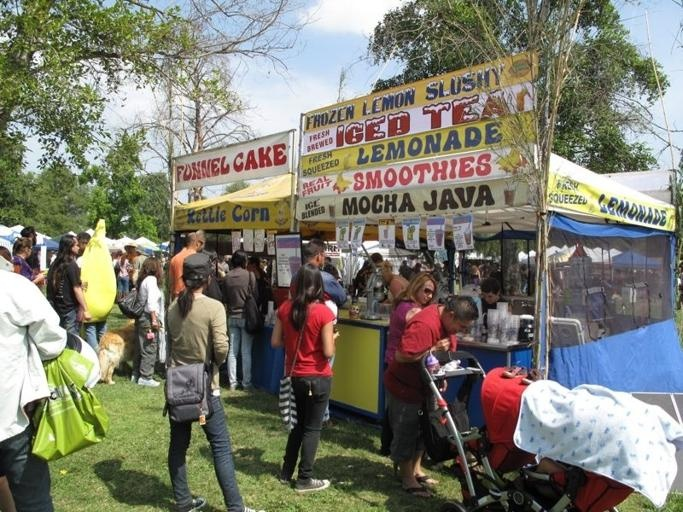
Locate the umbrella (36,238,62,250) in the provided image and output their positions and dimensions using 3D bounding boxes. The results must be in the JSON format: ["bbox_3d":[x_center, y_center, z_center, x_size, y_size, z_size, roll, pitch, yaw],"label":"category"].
[{"bbox_3d":[-12.656,-0.546,25.297,0.866,0.449,0.898,-4,-7,33],"label":"umbrella"}]

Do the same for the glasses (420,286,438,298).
[{"bbox_3d":[0.883,0.363,5.894,0.098,0.035,0.106,18,31,-11],"label":"glasses"}]

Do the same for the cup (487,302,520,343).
[{"bbox_3d":[1.748,0.729,6.377,0.379,0.612,0.372,0,-5,0],"label":"cup"}]

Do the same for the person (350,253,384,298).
[{"bbox_3d":[0.502,0.301,10.267,0.224,0.716,0.578,26,27,17],"label":"person"}]

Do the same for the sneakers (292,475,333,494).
[{"bbox_3d":[-0.270,2.162,5.621,0.352,0.158,0.131,0,-1,-22],"label":"sneakers"}]

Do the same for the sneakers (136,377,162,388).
[{"bbox_3d":[-2.797,1.816,8.492,0.280,0.127,0.143,5,-2,-23],"label":"sneakers"}]

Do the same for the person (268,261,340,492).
[{"bbox_3d":[-0.364,1.148,5.560,0.606,2.130,0.339,6,8,31],"label":"person"}]

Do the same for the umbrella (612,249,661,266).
[{"bbox_3d":[4.347,0.052,8.610,0.597,0.154,0.396,0,0,-27],"label":"umbrella"}]

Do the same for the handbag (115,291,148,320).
[{"bbox_3d":[-3.037,0.701,8.424,0.260,0.440,0.401,-4,9,-38],"label":"handbag"}]
